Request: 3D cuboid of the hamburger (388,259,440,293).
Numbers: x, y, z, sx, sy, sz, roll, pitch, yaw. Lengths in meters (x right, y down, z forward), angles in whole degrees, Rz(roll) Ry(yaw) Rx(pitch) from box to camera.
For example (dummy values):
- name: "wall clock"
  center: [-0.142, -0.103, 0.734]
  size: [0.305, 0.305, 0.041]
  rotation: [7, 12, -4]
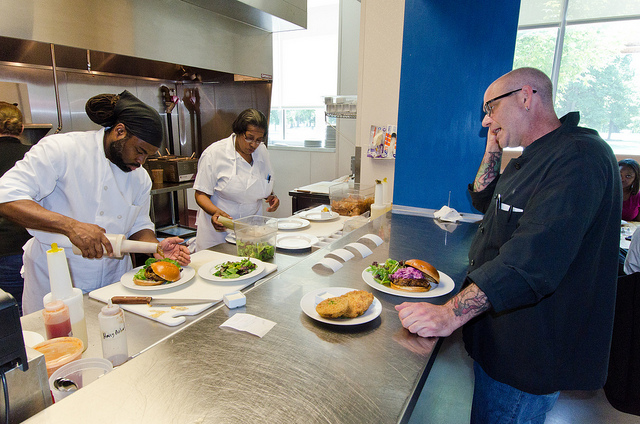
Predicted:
- name: "hamburger"
  center: [0.470, 0.323, 2.075]
  size: [0.174, 0.086, 0.166]
  rotation: [-1, 10, -10]

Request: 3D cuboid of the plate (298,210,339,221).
- name: "plate"
  center: [-0.016, 0.028, 3.189]
  size: [0.259, 0.033, 0.254]
  rotation: [10, 18, 40]

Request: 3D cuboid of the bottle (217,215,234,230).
- name: "bottle"
  center: [-0.582, 0.080, 2.563]
  size: [0.077, 0.087, 0.184]
  rotation: [-7, 15, -19]

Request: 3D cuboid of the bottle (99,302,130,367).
- name: "bottle"
  center: [-0.829, 0.497, 1.675]
  size: [0.091, 0.251, 0.126]
  rotation: [-9, 17, -26]

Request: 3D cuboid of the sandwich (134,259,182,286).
- name: "sandwich"
  center: [-0.796, 0.294, 2.124]
  size: [0.220, 0.076, 0.169]
  rotation: [-5, 26, -20]

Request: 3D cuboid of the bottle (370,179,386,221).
- name: "bottle"
  center: [0.445, -0.095, 3.179]
  size: [0.111, 0.267, 0.234]
  rotation: [0, 15, 7]

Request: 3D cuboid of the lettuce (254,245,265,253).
- name: "lettuce"
  center: [-0.339, 0.205, 2.361]
  size: [0.054, 0.045, 0.014]
  rotation: [-10, 17, -30]

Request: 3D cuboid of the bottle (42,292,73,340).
- name: "bottle"
  center: [-1.076, 0.428, 1.711]
  size: [0.088, 0.181, 0.072]
  rotation: [-6, 16, -16]

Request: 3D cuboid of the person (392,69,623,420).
- name: "person"
  center: [0.899, 0.239, 1.976]
  size: [0.901, 1.768, 0.520]
  rotation: [-1, 15, 1]

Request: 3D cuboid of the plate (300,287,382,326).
- name: "plate"
  center: [0.103, 0.436, 1.872]
  size: [0.208, 0.027, 0.199]
  rotation: [0, 12, -18]

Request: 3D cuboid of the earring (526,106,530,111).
- name: "earring"
  center: [0.975, -0.484, 1.966]
  size: [0.018, 0.017, 0.007]
  rotation: [-7, 16, -21]

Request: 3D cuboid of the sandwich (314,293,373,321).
- name: "sandwich"
  center: [0.118, 0.419, 1.873]
  size: [0.194, 0.026, 0.111]
  rotation: [-8, 19, -37]
